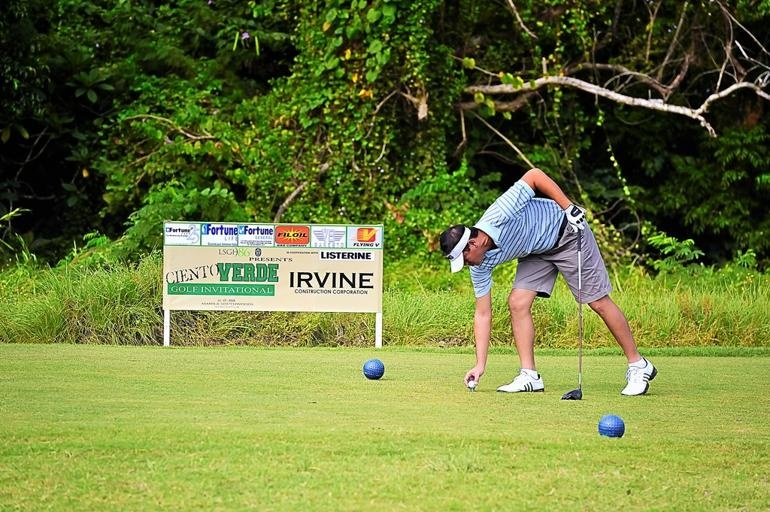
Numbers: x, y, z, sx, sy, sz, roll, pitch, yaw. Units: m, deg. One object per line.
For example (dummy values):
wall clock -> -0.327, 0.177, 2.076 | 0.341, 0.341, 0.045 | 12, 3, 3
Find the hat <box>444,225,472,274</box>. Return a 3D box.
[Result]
hat -> 0.794, -0.051, 11.019 | 0.122, 0.448, 0.243 | 18, -5, -27

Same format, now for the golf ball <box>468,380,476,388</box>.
golf ball -> 0.913, 1.352, 11.104 | 0.081, 0.081, 0.205 | -1, -3, 9

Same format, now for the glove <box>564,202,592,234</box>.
glove -> 1.997, -0.384, 11.190 | 0.236, 0.267, 0.078 | -24, 17, -18

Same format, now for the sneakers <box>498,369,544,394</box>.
sneakers -> 1.466, 1.337, 11.221 | 0.547, 0.279, 0.211 | 1, -3, -10
